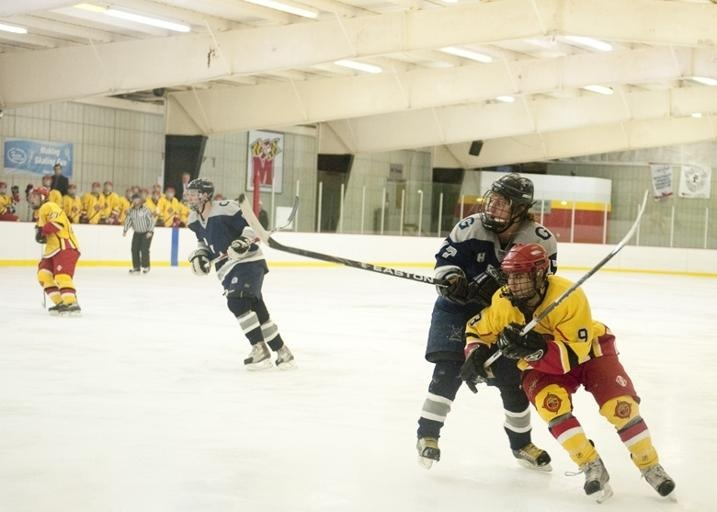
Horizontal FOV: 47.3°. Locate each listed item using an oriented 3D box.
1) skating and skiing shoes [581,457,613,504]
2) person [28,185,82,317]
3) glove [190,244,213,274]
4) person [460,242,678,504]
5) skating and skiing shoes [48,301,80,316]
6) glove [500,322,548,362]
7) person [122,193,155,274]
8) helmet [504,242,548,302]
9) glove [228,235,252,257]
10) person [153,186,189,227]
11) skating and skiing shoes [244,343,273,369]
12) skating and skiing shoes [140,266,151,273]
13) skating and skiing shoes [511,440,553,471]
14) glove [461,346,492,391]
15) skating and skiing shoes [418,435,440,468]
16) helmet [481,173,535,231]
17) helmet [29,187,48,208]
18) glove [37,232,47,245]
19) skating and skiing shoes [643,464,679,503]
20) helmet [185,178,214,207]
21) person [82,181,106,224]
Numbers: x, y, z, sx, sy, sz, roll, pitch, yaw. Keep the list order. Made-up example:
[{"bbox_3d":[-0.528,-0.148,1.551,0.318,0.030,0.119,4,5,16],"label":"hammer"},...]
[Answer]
[{"bbox_3d":[1.303,1.236,4.486,0.145,0.098,0.302,50,12,10],"label":"skating and skiing shoes"},{"bbox_3d":[-3.329,-0.056,8.995,0.495,1.350,0.702,0,7,-22],"label":"person"},{"bbox_3d":[-1.316,0.016,6.869,0.098,0.226,0.229,-14,49,-12],"label":"glove"},{"bbox_3d":[1.102,0.652,4.734,0.883,1.475,0.782,-18,0,14],"label":"person"},{"bbox_3d":[-3.215,0.579,8.936,0.403,0.173,0.134,2,-5,10],"label":"skating and skiing shoes"},{"bbox_3d":[0.926,0.465,4.549,0.286,0.133,0.207,1,3,-16],"label":"glove"},{"bbox_3d":[-3.870,-0.416,14.404,0.487,1.374,0.915,0,7,-17],"label":"person"},{"bbox_3d":[0.951,0.075,4.643,0.312,0.318,0.232,-15,10,-35],"label":"helmet"},{"bbox_3d":[-0.942,-0.073,6.590,0.135,0.065,0.177,8,22,29],"label":"glove"},{"bbox_3d":[-3.784,-0.852,16.487,0.525,1.131,0.283,-6,-22,2],"label":"person"},{"bbox_3d":[-0.803,0.829,6.733,0.252,0.244,0.151,5,-1,-5],"label":"skating and skiing shoes"},{"bbox_3d":[-3.766,0.238,14.399,0.206,0.090,0.078,5,8,32],"label":"skating and skiing shoes"},{"bbox_3d":[1.030,1.197,4.925,0.093,0.114,0.249,2,12,-36],"label":"skating and skiing shoes"},{"bbox_3d":[0.658,0.632,4.686,0.087,0.231,0.231,30,15,-16],"label":"glove"},{"bbox_3d":[0.400,1.143,4.764,0.120,0.172,0.074,1,-9,21],"label":"skating and skiing shoes"},{"bbox_3d":[0.912,-0.335,4.981,0.352,0.345,0.284,1,20,-35],"label":"helmet"},{"bbox_3d":[-3.543,-0.658,9.076,0.244,0.239,0.189,3,0,2],"label":"helmet"},{"bbox_3d":[-3.440,-0.192,8.870,0.116,0.119,0.119,-1,-6,17],"label":"glove"},{"bbox_3d":[1.643,1.236,4.508,0.109,0.099,0.263,29,14,-51],"label":"skating and skiing shoes"},{"bbox_3d":[-1.353,-0.529,6.804,0.250,0.249,0.193,4,1,-3],"label":"helmet"},{"bbox_3d":[-5.120,-1.041,16.011,0.459,0.772,0.417,8,9,42],"label":"person"}]
